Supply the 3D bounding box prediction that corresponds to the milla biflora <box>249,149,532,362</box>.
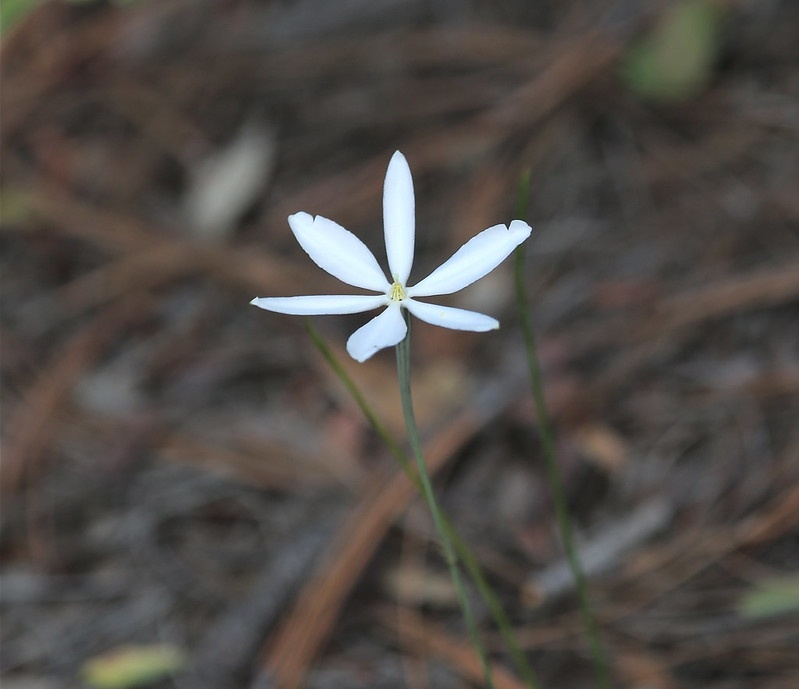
[{"bbox_3d":[0.020,-0.106,1.400,0.394,0.329,0.115,17,69,-1],"label":"milla biflora"}]
